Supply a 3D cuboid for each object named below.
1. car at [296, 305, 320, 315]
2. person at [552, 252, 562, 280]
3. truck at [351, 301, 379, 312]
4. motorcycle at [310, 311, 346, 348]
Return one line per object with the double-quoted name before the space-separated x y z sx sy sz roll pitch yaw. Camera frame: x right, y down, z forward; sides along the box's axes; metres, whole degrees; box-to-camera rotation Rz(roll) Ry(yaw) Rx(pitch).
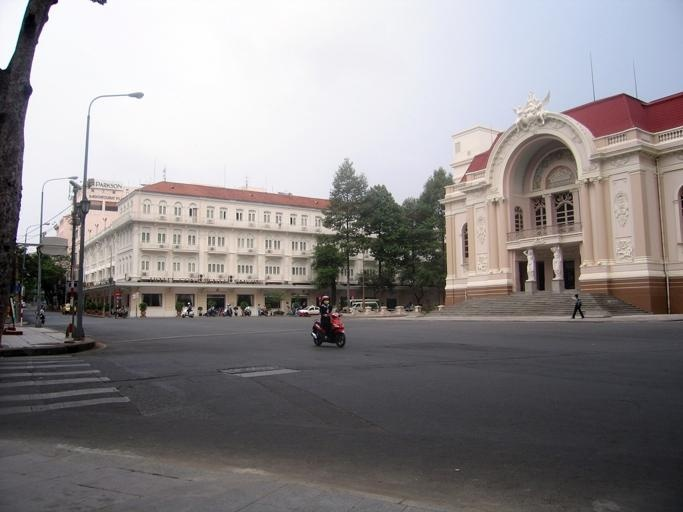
"car" -3.866 6.709 67.919 1.891 1.058 1.181 4 -7 -21
"person" 16.770 0.731 42.905 0.564 2.161 1.455 -2 -1 20
"truck" 2.810 6.167 67.237 2.171 1.099 1.488 -2 -1 0
"motorcycle" -0.339 2.589 19.499 0.740 1.200 1.631 0 -2 -41
